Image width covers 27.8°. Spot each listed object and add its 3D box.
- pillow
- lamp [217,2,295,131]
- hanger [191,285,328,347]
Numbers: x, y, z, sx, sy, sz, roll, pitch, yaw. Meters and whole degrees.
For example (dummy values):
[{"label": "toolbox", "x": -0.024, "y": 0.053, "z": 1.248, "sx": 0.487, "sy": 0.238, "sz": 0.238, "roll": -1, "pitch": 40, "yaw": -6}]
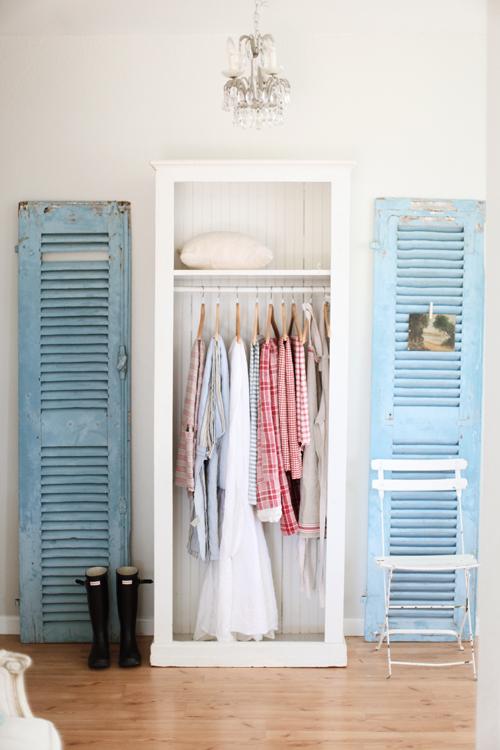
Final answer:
[{"label": "pillow", "x": -0.102, "y": -0.542, "z": 4.490, "sx": 0.405, "sy": 0.164, "sz": 0.101, "roll": 0, "pitch": 12, "yaw": 1}, {"label": "lamp", "x": 0.043, "y": -1.326, "z": 4.247, "sx": 0.309, "sy": 0.521, "sz": 1.103, "roll": -1, "pitch": 16, "yaw": 0}, {"label": "hanger", "x": -0.027, "y": -0.317, "z": 4.816, "sx": 0.436, "sy": 0.288, "sz": 0.130, "roll": 0, "pitch": -11, "yaw": 0}]
